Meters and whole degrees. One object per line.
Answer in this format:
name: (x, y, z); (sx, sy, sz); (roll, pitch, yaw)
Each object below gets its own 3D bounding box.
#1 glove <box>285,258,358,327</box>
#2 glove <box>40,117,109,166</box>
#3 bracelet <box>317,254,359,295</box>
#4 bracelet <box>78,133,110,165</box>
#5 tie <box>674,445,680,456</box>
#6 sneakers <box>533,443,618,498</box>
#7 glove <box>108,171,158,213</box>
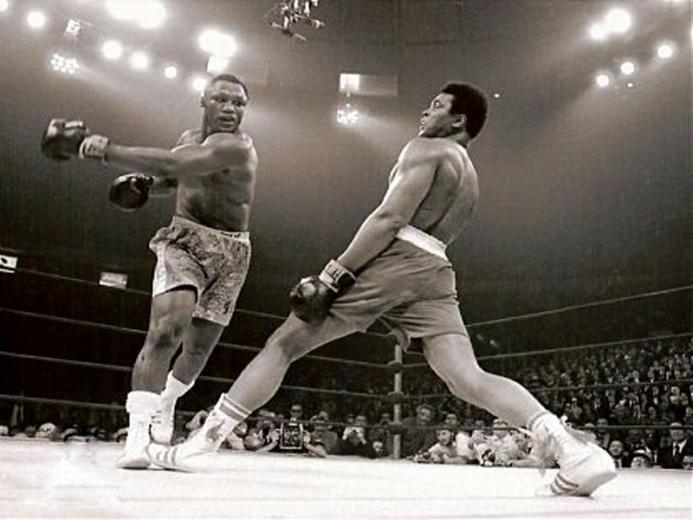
glove: (-0.107, 0.138, 2.888); (0.210, 0.310, 0.123); (39, -4, 6)
glove: (-1.199, -0.523, 2.953); (0.319, 0.170, 0.186); (13, 13, 16)
bracelet: (-0.032, 0.071, 2.870); (0.089, 0.120, 0.162); (37, 7, 25)
bracelet: (-1.135, -0.503, 2.917); (0.128, 0.145, 0.099); (7, -15, -14)
tie: (2.345, 1.350, 4.596); (0.043, 0.056, 0.022); (-4, -4, 15)
sneakers: (0.937, 0.860, 2.597); (0.230, 0.233, 0.110); (40, -12, 37)
glove: (-1.190, -0.348, 3.425); (0.191, 0.089, 0.238); (-9, -16, -13)
